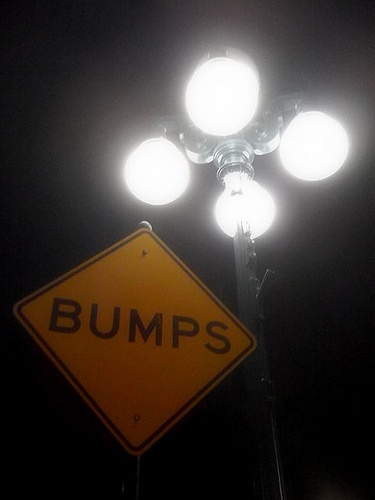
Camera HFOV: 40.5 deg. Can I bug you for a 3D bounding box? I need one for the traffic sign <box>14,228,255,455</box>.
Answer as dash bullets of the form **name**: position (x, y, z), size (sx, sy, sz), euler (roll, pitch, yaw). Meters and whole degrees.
- **traffic sign**: position (-0.222, 0.346, 2.056), size (0.835, 0.804, 0.220), euler (49, -39, 5)
